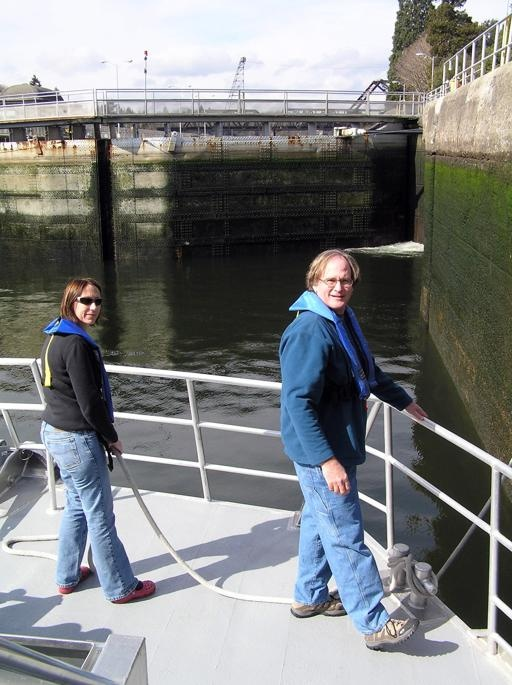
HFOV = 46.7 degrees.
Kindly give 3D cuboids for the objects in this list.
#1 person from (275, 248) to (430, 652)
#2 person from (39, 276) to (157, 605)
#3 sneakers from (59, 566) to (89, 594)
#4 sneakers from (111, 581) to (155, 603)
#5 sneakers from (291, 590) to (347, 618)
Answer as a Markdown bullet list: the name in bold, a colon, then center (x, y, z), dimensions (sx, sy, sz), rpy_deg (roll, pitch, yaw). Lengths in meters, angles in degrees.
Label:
- **person**: center (0.361, 0.396, 2.312), dimensions (0.659, 1.393, 0.603), rpy_deg (-1, 4, 0)
- **person**: center (-0.765, 0.449, 2.550), dimensions (0.431, 1.394, 0.447), rpy_deg (-10, 19, -12)
- **sneakers**: center (-0.829, 1.094, 2.719), dimensions (0.050, 0.056, 0.139), rpy_deg (13, 27, 11)
- **sneakers**: center (-0.535, 1.090, 2.615), dimensions (0.164, 0.060, 0.075), rpy_deg (-8, 12, -14)
- **sneakers**: center (0.272, 1.101, 2.505), dimensions (0.260, 0.103, 0.096), rpy_deg (-6, 11, -8)
